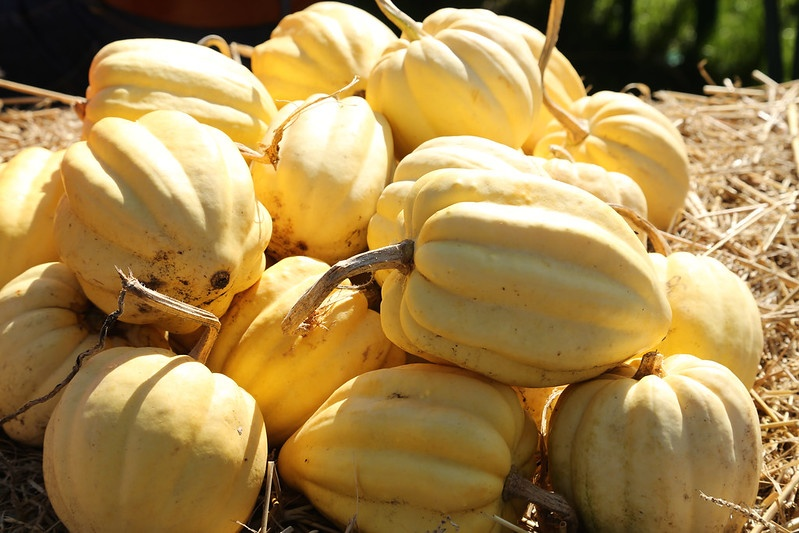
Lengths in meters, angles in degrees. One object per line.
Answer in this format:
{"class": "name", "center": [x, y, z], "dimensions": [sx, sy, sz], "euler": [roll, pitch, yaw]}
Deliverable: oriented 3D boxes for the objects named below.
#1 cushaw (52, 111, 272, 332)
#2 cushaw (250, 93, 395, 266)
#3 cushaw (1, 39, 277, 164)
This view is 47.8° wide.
{"class": "cushaw", "center": [-0.950, -0.200, 3.969], "dimensions": [0.864, 0.802, 0.740], "euler": [32, 5, 20]}
{"class": "cushaw", "center": [-0.320, -0.413, 4.283], "dimensions": [0.579, 0.785, 0.501], "euler": [3, -13, 5]}
{"class": "cushaw", "center": [-1.141, -0.808, 4.155], "dimensions": [1.040, 0.429, 0.449], "euler": [10, 3, -2]}
